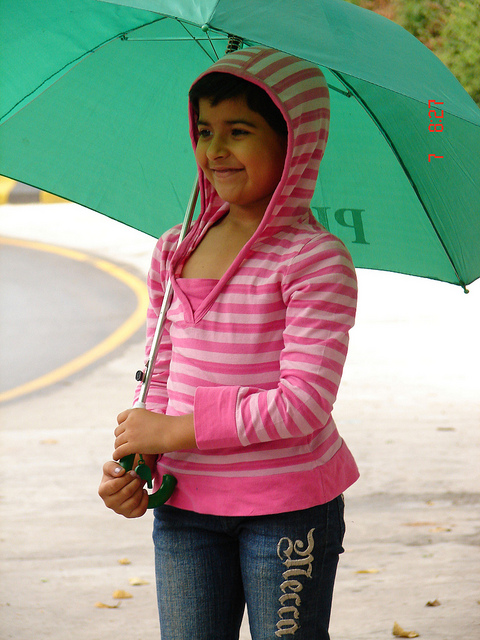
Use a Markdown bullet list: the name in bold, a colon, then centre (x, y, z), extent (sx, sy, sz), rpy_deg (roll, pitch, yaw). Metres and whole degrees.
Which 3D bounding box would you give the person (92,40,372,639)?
- **person**: centre (0.033, -0.008, 1.872), extent (0.586, 1.286, 0.995), rpy_deg (6, 15, -2)
